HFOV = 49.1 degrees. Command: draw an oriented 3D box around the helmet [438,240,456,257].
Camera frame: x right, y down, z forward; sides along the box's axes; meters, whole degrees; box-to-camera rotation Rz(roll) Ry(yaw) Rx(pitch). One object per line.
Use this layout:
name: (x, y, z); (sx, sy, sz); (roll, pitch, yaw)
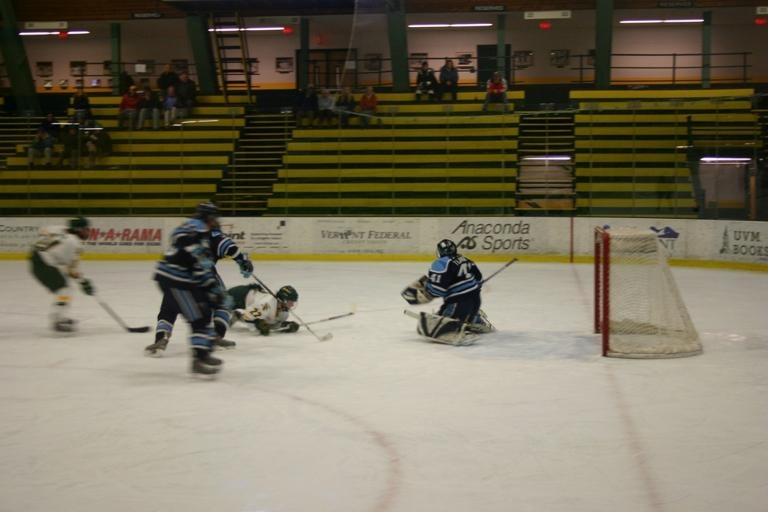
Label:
helmet: (0.987, -0.117, 12.657); (0.288, 0.235, 0.253); (-3, 6, -6)

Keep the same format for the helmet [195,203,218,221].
helmet: (-2.419, -0.596, 11.468); (0.351, 0.191, 0.319); (-10, 9, -39)

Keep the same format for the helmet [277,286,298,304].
helmet: (-1.484, 0.587, 12.823); (0.366, 0.196, 0.245); (-3, -31, -13)
